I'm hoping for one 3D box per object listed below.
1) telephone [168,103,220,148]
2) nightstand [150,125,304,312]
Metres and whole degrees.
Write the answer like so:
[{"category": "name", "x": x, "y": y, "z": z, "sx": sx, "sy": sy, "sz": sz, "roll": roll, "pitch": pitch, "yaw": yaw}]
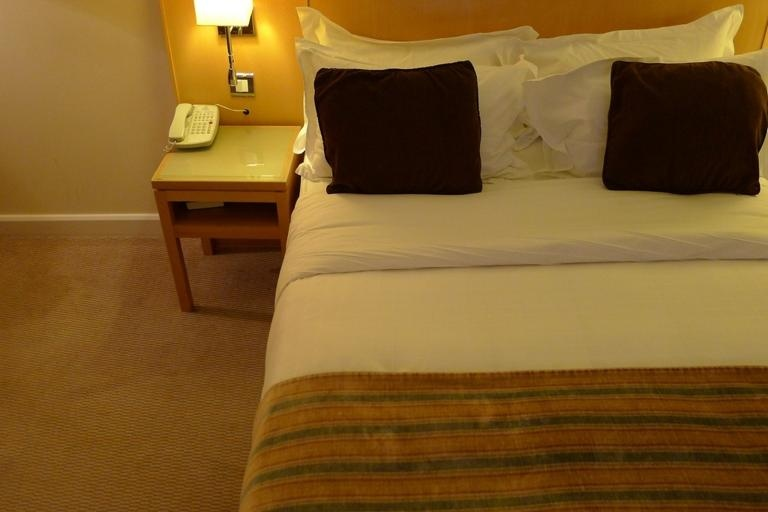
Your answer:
[{"category": "telephone", "x": -0.990, "y": -0.712, "z": 3.135, "sx": 0.278, "sy": 0.116, "sz": 0.343, "roll": -8, "pitch": 48, "yaw": 1}, {"category": "nightstand", "x": -0.701, "y": -0.201, "z": 3.347, "sx": 0.748, "sy": 0.898, "sz": 0.831, "roll": -2, "pitch": 32, "yaw": 0}]
